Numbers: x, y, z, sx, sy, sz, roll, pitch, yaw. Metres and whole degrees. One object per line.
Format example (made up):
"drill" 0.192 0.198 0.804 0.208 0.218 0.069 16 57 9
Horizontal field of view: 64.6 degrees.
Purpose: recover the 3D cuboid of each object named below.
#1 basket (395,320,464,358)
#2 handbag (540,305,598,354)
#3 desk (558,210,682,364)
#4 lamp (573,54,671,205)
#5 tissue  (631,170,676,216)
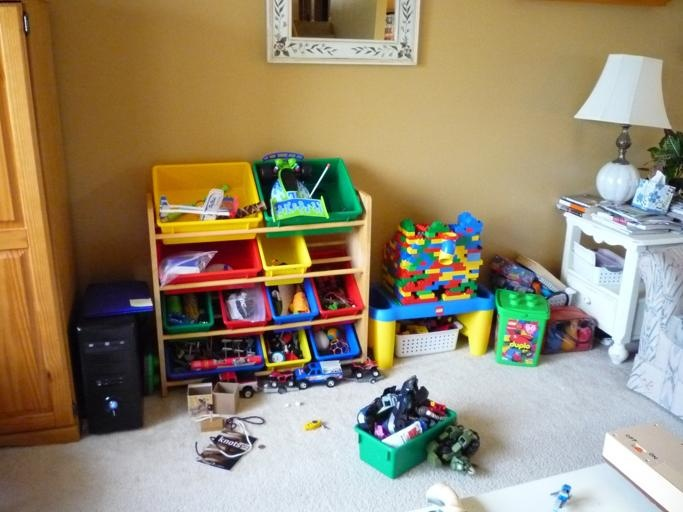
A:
"basket" 0.494 0.486 3.265 0.318 0.119 0.216 -4 13 -11
"handbag" 1.458 0.520 3.365 0.324 0.233 0.252 -4 -20 37
"desk" 1.610 0.199 3.093 0.432 0.661 0.687 -3 24 -16
"lamp" 1.668 -0.770 3.300 0.396 0.867 0.486 -6 23 -13
"tissue " 1.834 -0.361 3.180 0.083 0.237 0.231 5 15 -40
